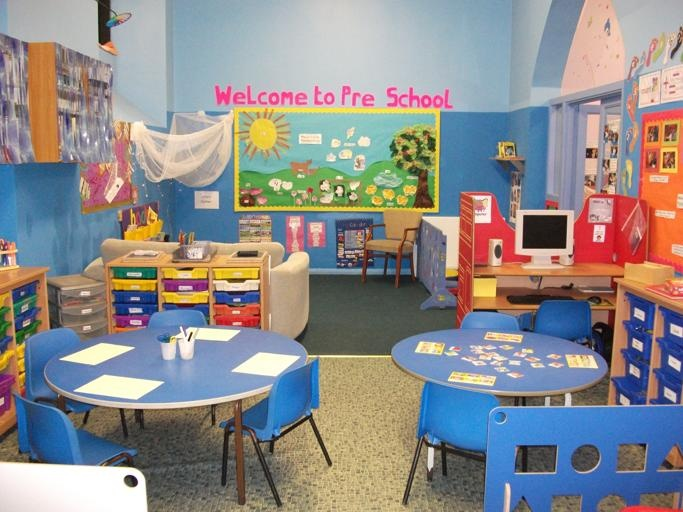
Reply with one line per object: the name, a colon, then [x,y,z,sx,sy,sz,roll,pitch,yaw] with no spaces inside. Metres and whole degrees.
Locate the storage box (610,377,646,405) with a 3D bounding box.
storage box: [2.014,0.967,3.844,0.124,0.086,0.194,0,12,6]

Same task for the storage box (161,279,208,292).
storage box: [-1.403,0.255,4.839,0.238,0.079,0.174,-1,4,-3]

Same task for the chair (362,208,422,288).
chair: [0.745,-0.158,8.244,0.852,1.107,0.879,0,6,-12]

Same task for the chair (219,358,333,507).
chair: [-0.416,1.096,3.287,0.487,0.877,0.580,13,18,28]

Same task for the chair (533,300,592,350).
chair: [1.716,0.505,4.196,0.311,0.566,0.397,-1,3,6]

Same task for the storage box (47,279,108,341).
storage box: [-2.442,0.424,5.239,0.526,0.731,0.499,6,10,34]

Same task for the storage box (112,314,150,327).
storage box: [-1.903,0.581,4.879,0.227,0.082,0.167,0,4,-4]

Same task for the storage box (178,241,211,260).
storage box: [-1.325,-0.077,4.900,0.161,0.083,0.222,1,9,-1]

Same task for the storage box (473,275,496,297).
storage box: [1.278,0.269,4.885,0.176,0.148,0.186,0,6,3]

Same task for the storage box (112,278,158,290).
storage box: [-1.857,0.254,4.842,0.234,0.076,0.178,0,4,-5]

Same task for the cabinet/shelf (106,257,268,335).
cabinet/shelf: [-1.329,0.330,4.646,0.597,0.636,0.237,0,11,-1]

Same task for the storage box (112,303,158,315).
storage box: [-1.848,0.470,4.867,0.235,0.077,0.169,0,3,-5]

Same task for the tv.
tv: [1.819,-0.163,4.875,0.465,0.506,0.266,-1,5,1]

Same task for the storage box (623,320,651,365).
storage box: [2.052,0.596,3.773,0.166,0.227,0.305,0,9,2]

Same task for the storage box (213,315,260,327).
storage box: [-0.931,0.576,4.830,0.230,0.082,0.177,-1,3,-2]

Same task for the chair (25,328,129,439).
chair: [-1.806,0.741,3.490,0.524,0.788,0.462,4,6,30]

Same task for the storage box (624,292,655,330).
storage box: [2.028,0.370,3.745,0.161,0.185,0.250,0,6,11]

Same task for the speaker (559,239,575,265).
speaker: [2.026,-0.047,4.918,0.138,0.274,0.159,-3,15,0]

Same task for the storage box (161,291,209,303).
storage box: [-1.399,0.369,4.851,0.423,0.124,0.057,0,12,-1]

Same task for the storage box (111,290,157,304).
storage box: [-1.856,0.364,4.853,0.241,0.079,0.175,1,3,-5]

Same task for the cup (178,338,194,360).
cup: [-0.921,0.547,3.267,0.112,0.114,0.108,0,10,0]

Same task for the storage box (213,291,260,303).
storage box: [-0.947,0.371,4.842,0.224,0.073,0.172,-1,3,-6]

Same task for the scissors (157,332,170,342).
scissors: [-1.052,0.491,3.249,0.060,0.029,0.061,-3,48,-2]

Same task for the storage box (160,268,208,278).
storage box: [-1.398,0.146,4.826,0.412,0.099,0.065,1,12,5]

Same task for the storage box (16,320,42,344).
storage box: [-2.388,0.573,4.129,0.130,0.064,0.184,-2,5,-9]

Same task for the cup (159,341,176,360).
cup: [-1.029,0.559,3.207,0.099,0.106,0.097,1,8,0]
